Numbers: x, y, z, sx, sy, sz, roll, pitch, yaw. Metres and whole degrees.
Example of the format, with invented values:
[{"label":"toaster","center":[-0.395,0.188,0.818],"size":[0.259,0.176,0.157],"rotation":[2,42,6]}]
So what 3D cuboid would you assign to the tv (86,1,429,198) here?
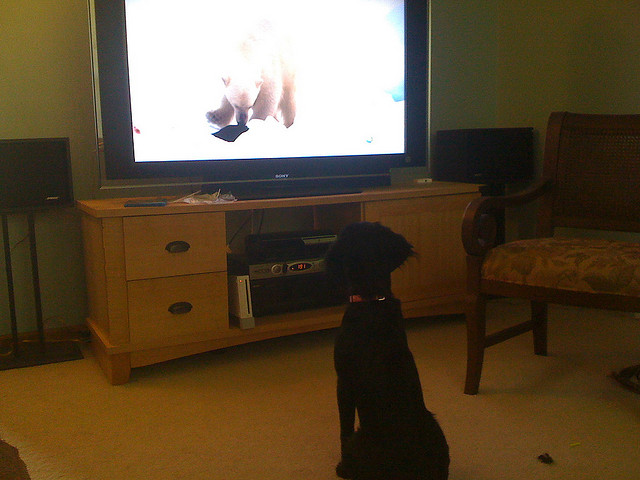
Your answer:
[{"label":"tv","center":[-0.379,-0.726,2.654],"size":[1.198,0.784,0.027],"rotation":[-3,7,-16]}]

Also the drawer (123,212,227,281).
[{"label":"drawer","center":[-0.721,0.011,2.404],"size":[0.288,0.287,0.510],"rotation":[5,7,43]}]

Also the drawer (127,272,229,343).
[{"label":"drawer","center":[-0.624,0.287,2.332],"size":[0.331,0.182,0.326],"rotation":[-2,3,-30]}]

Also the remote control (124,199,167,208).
[{"label":"remote control","center":[-0.784,-0.169,2.343],"size":[0.175,0.014,0.237],"rotation":[-6,14,-19]}]
